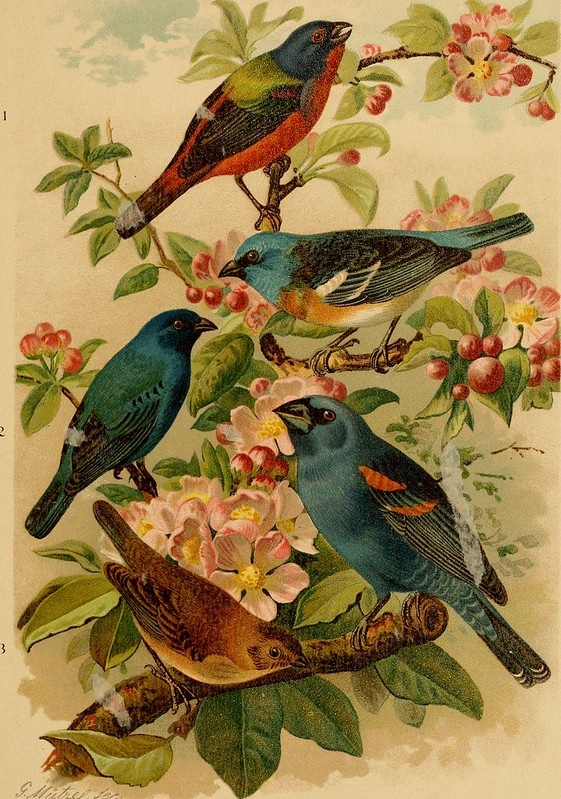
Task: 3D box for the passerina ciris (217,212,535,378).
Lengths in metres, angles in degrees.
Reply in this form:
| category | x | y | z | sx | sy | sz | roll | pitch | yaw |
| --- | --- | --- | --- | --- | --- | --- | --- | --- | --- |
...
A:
| category | x | y | z | sx | sy | sz | roll | pitch | yaw |
| --- | --- | --- | --- | --- | --- | --- | --- | --- | --- |
| passerina ciris | 0.214 | -0.253 | 2.155 | 0.728 | 0.190 | 0.299 | -17 | -66 | -15 |

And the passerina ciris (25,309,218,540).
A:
| category | x | y | z | sx | sy | sz | roll | pitch | yaw |
| --- | --- | --- | --- | --- | --- | --- | --- | --- | --- |
| passerina ciris | -0.355 | 0.037 | 2.163 | 0.522 | 0.207 | 0.403 | -17 | -69 | -20 |
